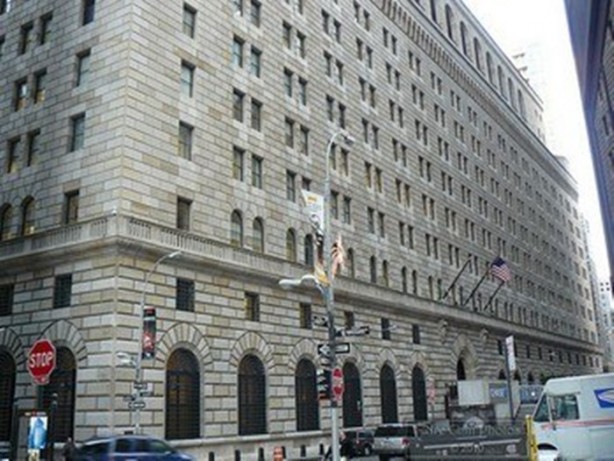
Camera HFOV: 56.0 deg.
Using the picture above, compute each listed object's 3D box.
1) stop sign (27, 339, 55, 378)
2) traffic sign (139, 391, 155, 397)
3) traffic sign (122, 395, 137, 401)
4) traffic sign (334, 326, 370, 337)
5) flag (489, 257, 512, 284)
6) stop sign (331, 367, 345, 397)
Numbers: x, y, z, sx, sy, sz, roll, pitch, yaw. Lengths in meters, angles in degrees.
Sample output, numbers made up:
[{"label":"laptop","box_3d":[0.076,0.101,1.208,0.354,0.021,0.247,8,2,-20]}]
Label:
[{"label":"stop sign","box_3d":[-9.697,4.620,21.146,1.348,1.335,0.583,-20,-27,40]},{"label":"traffic sign","box_3d":[-9.000,9.173,32.518,0.562,0.357,1.441,0,-22,-7]},{"label":"traffic sign","box_3d":[-9.701,9.187,31.657,0.370,0.208,0.543,1,-6,6]},{"label":"traffic sign","box_3d":[2.232,4.793,27.501,1.482,0.400,1.533,-1,-7,5]},{"label":"flag","box_3d":[22.125,4.601,66.394,2.986,3.391,0.526,34,-30,-5]},{"label":"stop sign","box_3d":[1.416,6.845,25.915,0.394,1.450,1.203,-5,-20,10]}]
